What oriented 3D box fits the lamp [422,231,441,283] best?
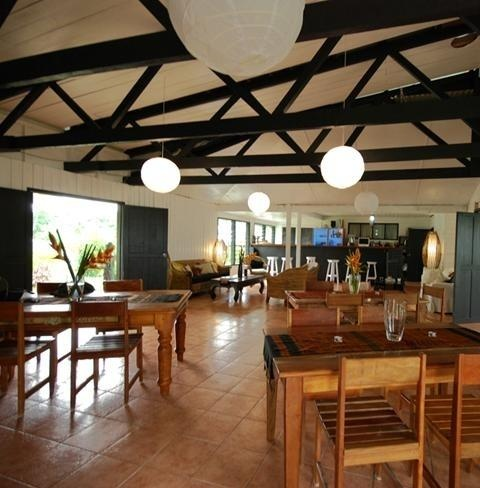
[{"bbox_3d":[4.836,0.116,10.485,0.365,0.337,1.342,1,-42,25],"label":"lamp"}]

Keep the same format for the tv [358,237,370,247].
[{"bbox_3d":[3.816,-0.067,12.853,0.267,0.275,0.161,-3,-10,20],"label":"tv"}]

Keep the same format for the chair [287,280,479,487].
[{"bbox_3d":[0.819,1.013,2.826,1.469,1.218,1.202,0,-3,1],"label":"chair"}]

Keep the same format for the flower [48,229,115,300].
[{"bbox_3d":[-1.387,0.204,3.617,0.491,0.589,0.449,2,-2,-18],"label":"flower"}]

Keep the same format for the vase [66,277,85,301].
[{"bbox_3d":[-1.430,0.400,3.612,0.198,0.256,0.221,0,-4,-12],"label":"vase"}]

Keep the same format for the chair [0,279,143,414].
[{"bbox_3d":[-1.435,0.833,3.553,1.143,0.907,0.902,-1,5,-11],"label":"chair"}]

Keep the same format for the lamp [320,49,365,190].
[{"bbox_3d":[0.975,-0.961,3.954,0.391,0.929,0.422,3,-6,-5],"label":"lamp"}]

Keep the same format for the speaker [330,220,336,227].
[{"bbox_3d":[3.250,-0.704,14.531,0.111,0.232,0.052,1,-8,12],"label":"speaker"}]
